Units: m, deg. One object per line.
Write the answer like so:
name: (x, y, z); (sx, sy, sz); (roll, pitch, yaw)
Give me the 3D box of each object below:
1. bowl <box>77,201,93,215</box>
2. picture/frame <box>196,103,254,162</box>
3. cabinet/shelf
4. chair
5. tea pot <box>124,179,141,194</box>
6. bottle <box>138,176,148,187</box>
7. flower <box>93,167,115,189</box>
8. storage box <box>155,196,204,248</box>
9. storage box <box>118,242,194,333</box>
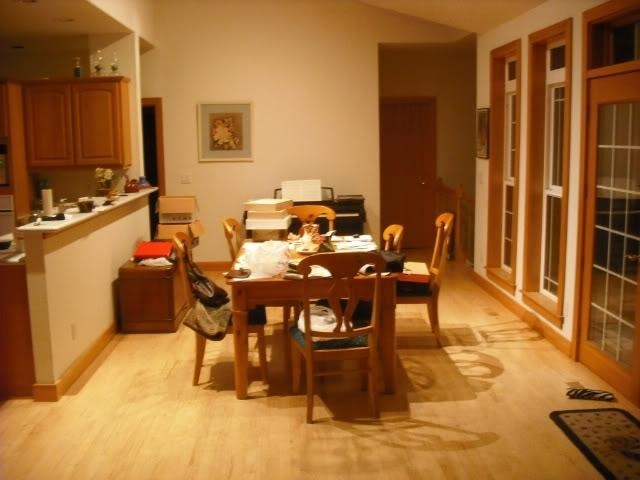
bowl: (-2.059, -0.282, 4.394); (0.099, 0.076, 0.108); (1, -1, 0)
picture/frame: (-1.339, -1.543, 7.011); (0.792, 0.829, 0.035); (0, 4, -3)
cabinet/shelf: (-2.746, -1.284, 5.790); (1.123, 0.995, 0.406); (-1, 4, 1)
chair: (0.052, 0.423, 3.902); (1.458, 0.789, 1.455); (-2, 5, -3)
tea pot: (-2.146, -0.617, 5.703); (0.135, 0.138, 0.173); (1, 4, -17)
bottle: (-2.077, -0.685, 5.935); (0.129, 0.114, 0.127); (-2, 2, -36)
flower: (-2.419, -0.706, 5.639); (0.264, 0.265, 0.255); (0, 7, -10)
storage box: (-1.698, -0.279, 5.920); (0.737, 0.709, 0.730); (0, 2, -5)
storage box: (-1.795, 0.511, 5.312); (0.554, 0.701, 0.730); (-3, 21, -15)
